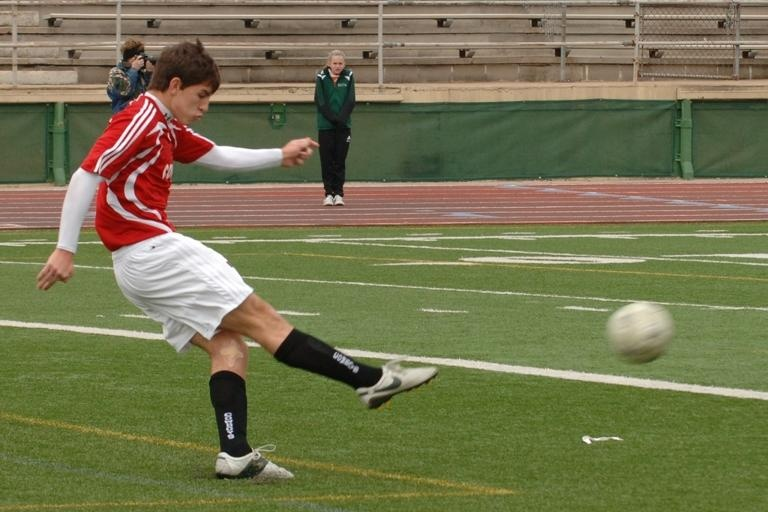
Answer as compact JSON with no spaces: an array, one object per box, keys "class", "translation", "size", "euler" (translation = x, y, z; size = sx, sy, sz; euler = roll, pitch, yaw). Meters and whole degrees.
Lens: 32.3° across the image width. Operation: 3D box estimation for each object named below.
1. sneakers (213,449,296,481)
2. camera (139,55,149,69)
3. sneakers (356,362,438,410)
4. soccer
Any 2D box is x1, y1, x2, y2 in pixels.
[{"class":"sneakers","translation":[-0.816,1.350,8.434],"size":[0.548,0.156,0.171],"euler":[3,-6,-4]},{"class":"camera","translation":[-2.908,-2.419,16.433],"size":[0.120,0.146,0.166],"euler":[1,7,-11]},{"class":"sneakers","translation":[0.130,0.831,8.575],"size":[0.563,0.237,0.177],"euler":[-27,-24,20]},{"class":"soccer","translation":[1.744,0.543,9.386],"size":[0.521,0.390,0.444],"euler":[-1,4,-11]}]
